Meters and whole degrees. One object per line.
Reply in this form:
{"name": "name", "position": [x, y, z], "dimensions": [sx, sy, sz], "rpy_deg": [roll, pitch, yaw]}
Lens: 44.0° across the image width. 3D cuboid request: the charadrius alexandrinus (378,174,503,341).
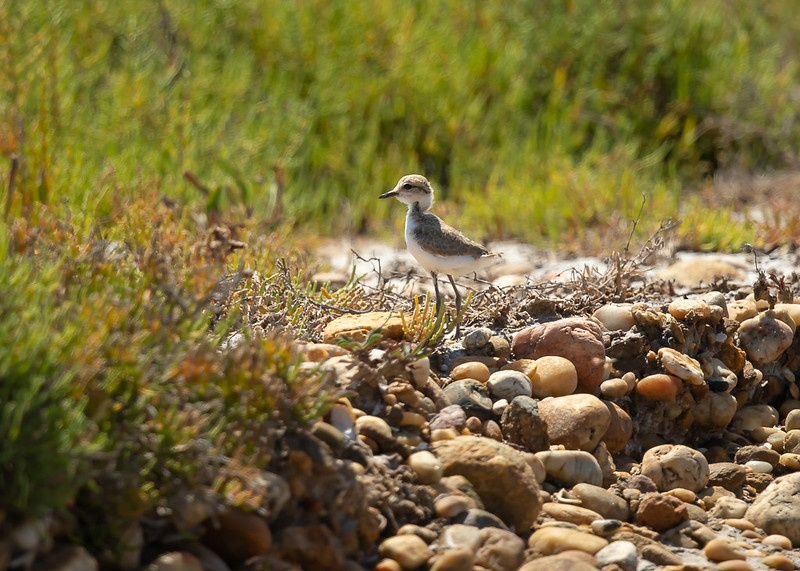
{"name": "charadrius alexandrinus", "position": [0.310, -0.213, 5.796], "dimensions": [0.457, 0.761, 0.839], "rpy_deg": [-21, 32, -6]}
